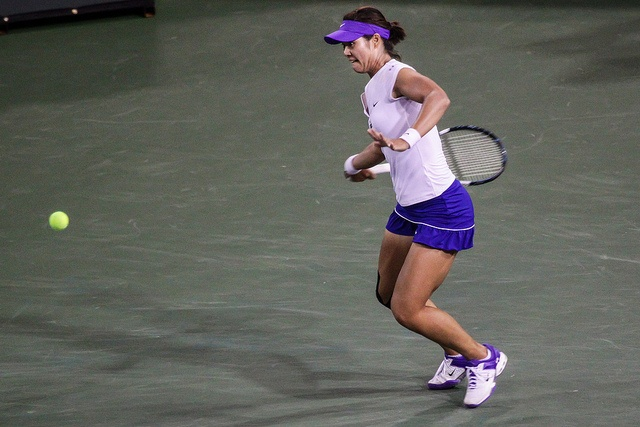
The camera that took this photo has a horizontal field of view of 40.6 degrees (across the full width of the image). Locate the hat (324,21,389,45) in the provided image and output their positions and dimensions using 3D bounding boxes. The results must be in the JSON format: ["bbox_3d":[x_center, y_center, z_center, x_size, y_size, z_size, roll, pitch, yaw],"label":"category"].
[{"bbox_3d":[0.212,-1.124,5.411,0.357,0.173,0.060,-2,88,-13],"label":"hat"}]
